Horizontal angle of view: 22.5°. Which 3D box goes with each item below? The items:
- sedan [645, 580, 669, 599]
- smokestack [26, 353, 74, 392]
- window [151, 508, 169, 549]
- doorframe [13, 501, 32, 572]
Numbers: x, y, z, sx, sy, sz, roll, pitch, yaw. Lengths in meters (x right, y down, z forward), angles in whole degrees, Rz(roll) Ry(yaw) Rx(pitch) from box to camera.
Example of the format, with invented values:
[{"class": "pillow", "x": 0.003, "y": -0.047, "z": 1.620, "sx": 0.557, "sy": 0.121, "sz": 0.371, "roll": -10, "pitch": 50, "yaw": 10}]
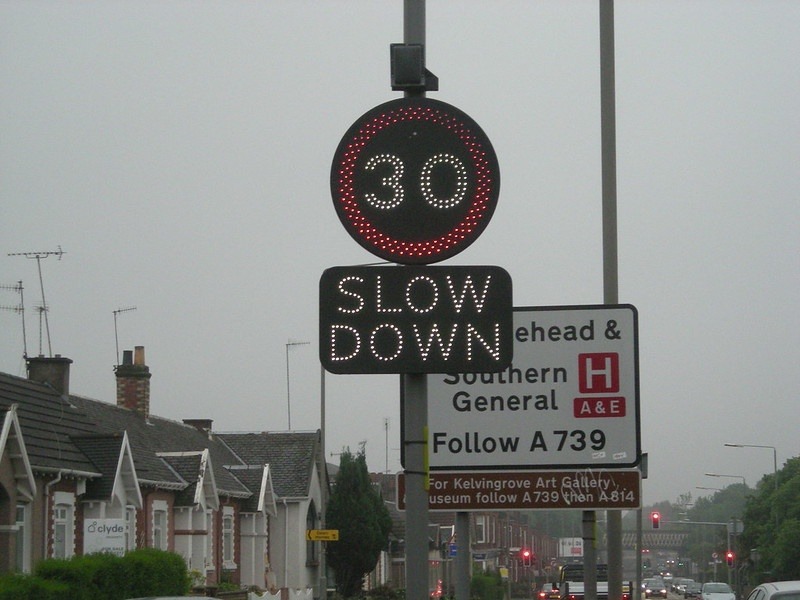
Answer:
[{"class": "sedan", "x": 16.805, "y": 19.055, "z": 133.443, "sx": 0.834, "sy": 0.970, "sz": 2.128, "roll": 2, "pitch": 5, "yaw": 2}, {"class": "smokestack", "x": -15.114, "y": 3.182, "z": 86.199, "sx": 1.410, "sy": 1.847, "sz": 1.104, "roll": 1, "pitch": 2, "yaw": -3}, {"class": "window", "x": -11.344, "y": 10.678, "z": 93.856, "sx": 0.812, "sy": 1.824, "sz": 0.174, "roll": 6, "pitch": -8, "yaw": -43}, {"class": "doorframe", "x": -15.908, "y": 9.891, "z": 84.921, "sx": 0.951, "sy": 2.818, "sz": 0.461, "roll": 11, "pitch": -2, "yaw": -8}]
